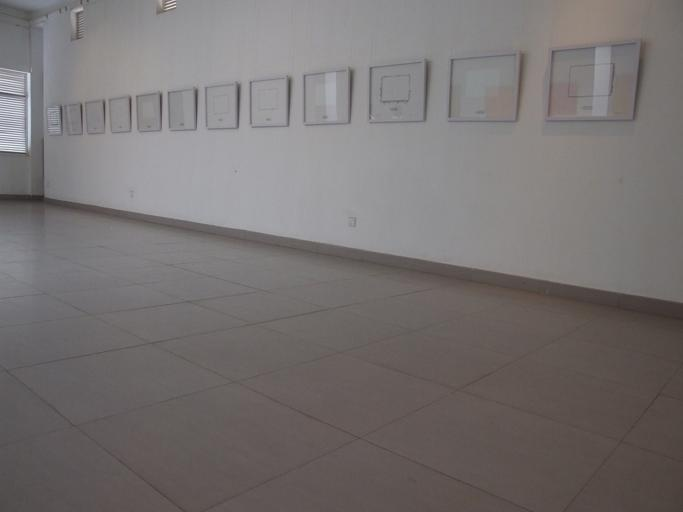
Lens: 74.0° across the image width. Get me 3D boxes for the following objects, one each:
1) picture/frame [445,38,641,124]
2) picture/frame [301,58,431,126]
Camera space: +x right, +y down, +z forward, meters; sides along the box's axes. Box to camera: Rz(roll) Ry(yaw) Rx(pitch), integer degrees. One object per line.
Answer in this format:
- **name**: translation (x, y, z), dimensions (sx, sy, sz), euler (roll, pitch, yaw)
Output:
- **picture/frame**: translation (2.190, -1.895, 5.024), dimensions (1.902, 0.803, 0.077), euler (10, 13, 35)
- **picture/frame**: translation (0.402, -2.293, 6.308), dimensions (1.150, 0.912, 0.120), euler (7, 13, 38)
